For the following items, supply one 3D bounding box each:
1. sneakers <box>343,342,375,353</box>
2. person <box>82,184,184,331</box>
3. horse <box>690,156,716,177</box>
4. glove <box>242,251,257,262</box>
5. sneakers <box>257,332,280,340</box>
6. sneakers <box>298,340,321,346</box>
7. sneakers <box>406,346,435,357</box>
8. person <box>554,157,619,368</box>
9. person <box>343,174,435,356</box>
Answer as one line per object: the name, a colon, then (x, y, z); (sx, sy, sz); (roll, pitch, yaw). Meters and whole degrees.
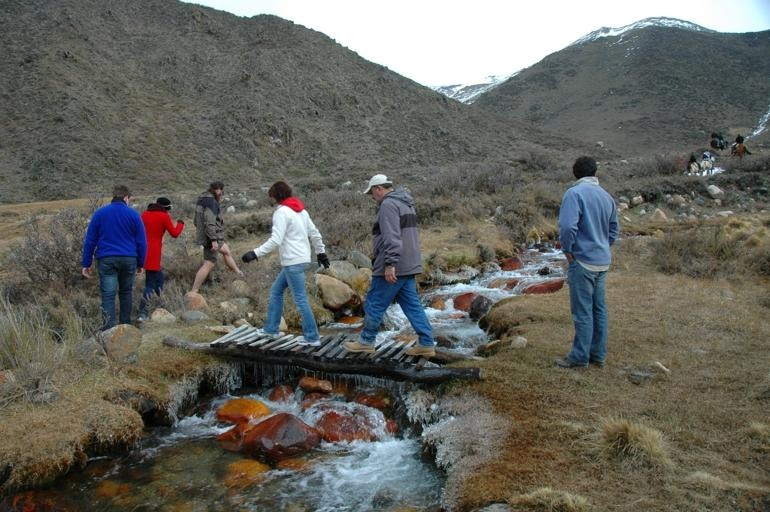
sneakers: (-0.445, 1.601, 9.157); (0.500, 0.228, 0.201); (6, -8, 7)
person: (-4.963, 0.023, 9.716); (1.045, 2.592, 0.433); (-6, 4, -30)
horse: (17.178, -4.892, 28.681); (1.083, 1.034, 3.250); (-1, 4, 35)
glove: (-2.309, 0.018, 9.040); (0.219, 0.192, 0.480); (-4, 3, -13)
sneakers: (-2.157, 1.486, 9.749); (0.414, 0.183, 0.151); (10, -8, 3)
sneakers: (-1.358, 1.576, 9.534); (0.356, 0.164, 0.140); (4, 3, 13)
sneakers: (0.617, 1.628, 9.138); (0.454, 0.219, 0.198); (6, -2, 12)
person: (3.279, 0.094, 8.576); (1.076, 3.456, 0.549); (-6, 4, -30)
person: (0.115, 0.228, 8.787); (1.256, 3.170, 0.747); (-3, 4, 3)
